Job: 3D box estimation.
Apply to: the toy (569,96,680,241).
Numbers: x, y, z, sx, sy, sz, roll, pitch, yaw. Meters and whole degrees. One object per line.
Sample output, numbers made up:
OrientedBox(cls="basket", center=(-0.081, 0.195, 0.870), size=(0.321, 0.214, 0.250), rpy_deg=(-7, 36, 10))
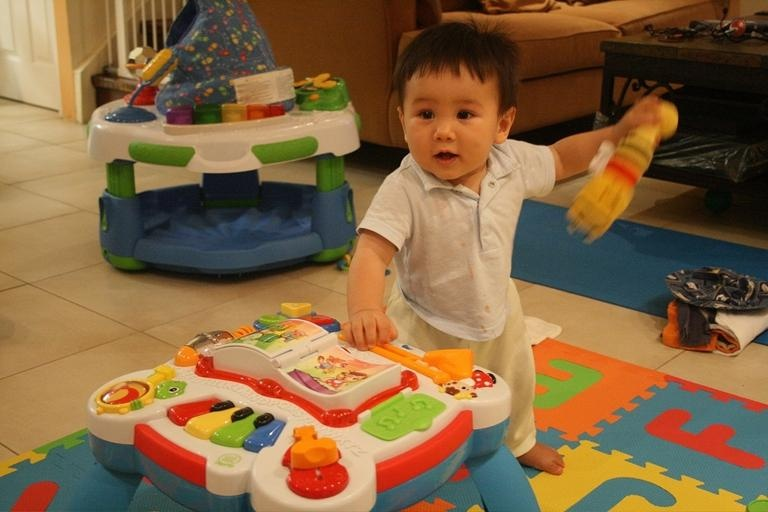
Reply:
OrientedBox(cls="toy", center=(0.454, -0.158, 1.107), size=(0.098, 0.244, 0.234), rpy_deg=(23, 35, 38))
